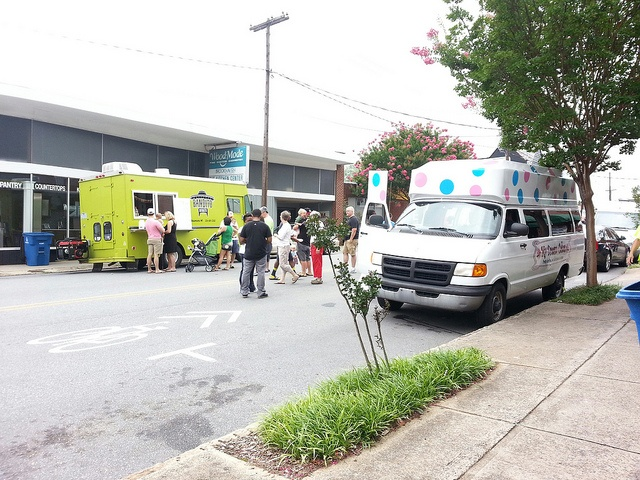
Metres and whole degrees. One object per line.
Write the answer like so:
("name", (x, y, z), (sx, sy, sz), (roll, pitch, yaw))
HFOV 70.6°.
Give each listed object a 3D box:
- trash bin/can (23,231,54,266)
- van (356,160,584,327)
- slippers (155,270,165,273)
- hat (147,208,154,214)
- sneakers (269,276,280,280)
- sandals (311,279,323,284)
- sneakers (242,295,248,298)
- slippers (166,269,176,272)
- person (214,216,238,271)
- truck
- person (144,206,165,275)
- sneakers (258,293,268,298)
("trash bin/can", (-10.402, 0.335, 16.506), (0.875, 1.211, 0.452), (0, 2, -23))
("van", (3.381, 0.022, 9.929), (2.980, 2.849, 5.218), (-2, -4, 44))
("slippers", (-5.498, 1.082, 15.332), (0.281, 0.127, 0.099), (-1, 3, 38))
("hat", (-5.771, -0.973, 15.180), (0.223, 0.088, 0.162), (13, 0, 43))
("sneakers", (-1.405, 1.144, 13.648), (0.300, 0.139, 0.108), (0, 2, 8))
("sandals", (-0.129, 1.207, 13.099), (0.263, 0.115, 0.130), (4, 5, -2))
("sneakers", (-1.811, 1.332, 10.750), (0.130, 0.067, 0.182), (1, 1, -4))
("slippers", (-5.255, 1.070, 15.776), (0.332, 0.143, 0.105), (5, 4, 7))
("person", (-3.463, 0.103, 16.367), (0.713, 1.949, 1.571), (0, 2, -14))
("truck", (-5.908, -0.858, 17.772), (3.262, 3.312, 5.736), (0, 2, 43))
("person", (-5.658, 0.012, 15.346), (0.659, 2.201, 0.752), (1, 2, 11))
("sneakers", (-1.373, 1.328, 10.767), (0.078, 0.111, 0.243), (0, -6, 10))
